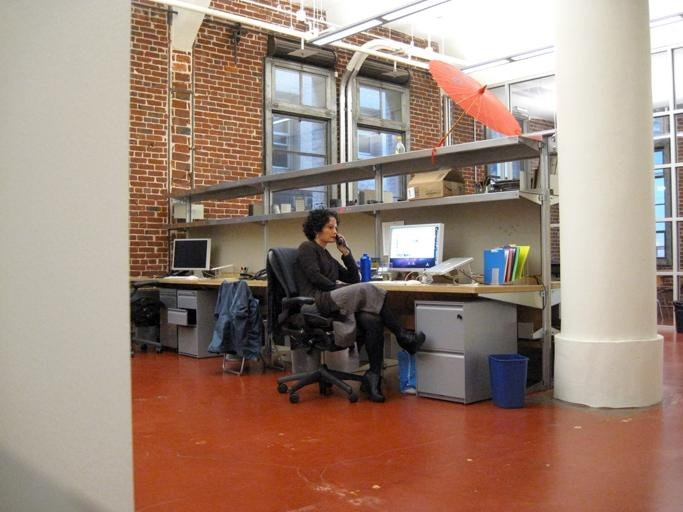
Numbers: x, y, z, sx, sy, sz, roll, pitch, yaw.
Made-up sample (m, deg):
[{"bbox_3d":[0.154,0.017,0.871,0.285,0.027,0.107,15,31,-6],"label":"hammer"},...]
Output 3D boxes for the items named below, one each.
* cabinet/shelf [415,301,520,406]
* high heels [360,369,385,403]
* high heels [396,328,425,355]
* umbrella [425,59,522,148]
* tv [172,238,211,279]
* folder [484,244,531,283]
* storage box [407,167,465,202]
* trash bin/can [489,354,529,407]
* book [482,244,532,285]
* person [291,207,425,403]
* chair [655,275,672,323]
[{"bbox_3d":[0.866,0.646,4.023,0.632,0.638,0.515,2,-4,-30],"label":"cabinet/shelf"},{"bbox_3d":[0.215,0.862,3.902,0.112,0.125,0.219,-2,1,-15],"label":"high heels"},{"bbox_3d":[0.462,0.557,3.859,0.113,0.091,0.267,40,-17,-6],"label":"high heels"},{"bbox_3d":[0.952,-1.144,4.194,0.622,0.686,0.434,-2,1,16],"label":"umbrella"},{"bbox_3d":[-1.639,0.025,6.438,0.403,0.367,0.133,-4,-12,26],"label":"tv"},{"bbox_3d":[1.125,0.021,4.081,0.248,0.311,0.318,2,1,-42],"label":"folder"},{"bbox_3d":[0.722,-0.552,4.441,0.439,0.242,0.375,-2,1,11],"label":"storage box"},{"bbox_3d":[1.026,0.780,3.693,0.286,0.351,0.288,1,-5,-8],"label":"trash bin/can"},{"bbox_3d":[1.173,0.057,4.026,0.255,0.307,0.315,2,1,-40],"label":"book"},{"bbox_3d":[0.070,0.298,4.072,0.566,1.315,0.922,-2,1,-34],"label":"person"},{"bbox_3d":[4.016,0.534,7.232,0.169,0.576,0.142,-1,1,38],"label":"chair"}]
